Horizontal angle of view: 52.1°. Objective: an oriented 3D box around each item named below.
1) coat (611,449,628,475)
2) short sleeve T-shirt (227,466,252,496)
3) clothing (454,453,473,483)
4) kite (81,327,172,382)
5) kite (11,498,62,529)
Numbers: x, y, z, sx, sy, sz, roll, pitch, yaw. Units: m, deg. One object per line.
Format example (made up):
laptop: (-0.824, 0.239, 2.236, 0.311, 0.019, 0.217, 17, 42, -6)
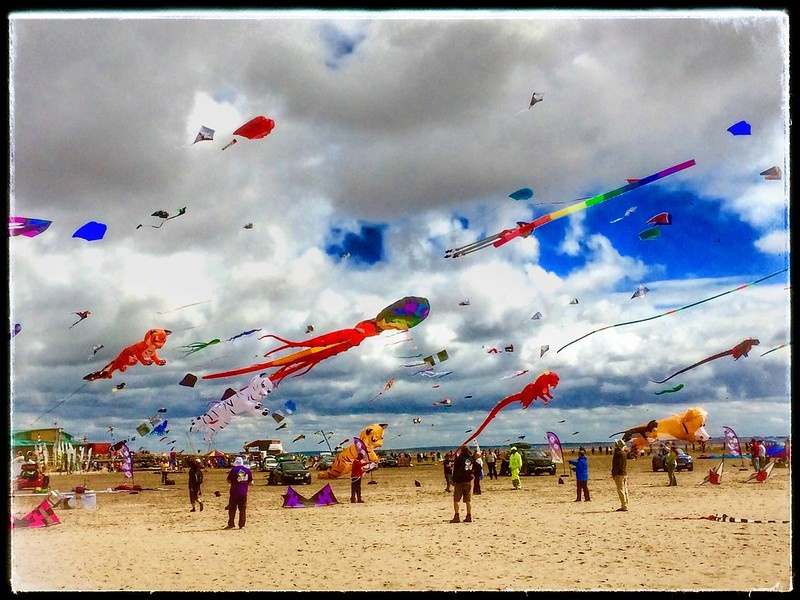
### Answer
coat: (6.547, 4.856, 24.439, 0.432, 0.789, 0.853, -6, -12, 13)
short sleeve T-shirt: (-4.596, 5.141, 23.268, 0.587, 0.830, 1.161, -1, -12, -12)
clothing: (1.717, 4.669, 22.728, 0.540, 0.815, 0.640, -4, -12, 1)
kite: (-8.659, 1.686, 26.851, 2.475, 1.208, 1.008, -12, -15, 34)
kite: (-11.150, 6.556, 25.067, 1.242, 0.759, 1.352, 1, -13, -22)
